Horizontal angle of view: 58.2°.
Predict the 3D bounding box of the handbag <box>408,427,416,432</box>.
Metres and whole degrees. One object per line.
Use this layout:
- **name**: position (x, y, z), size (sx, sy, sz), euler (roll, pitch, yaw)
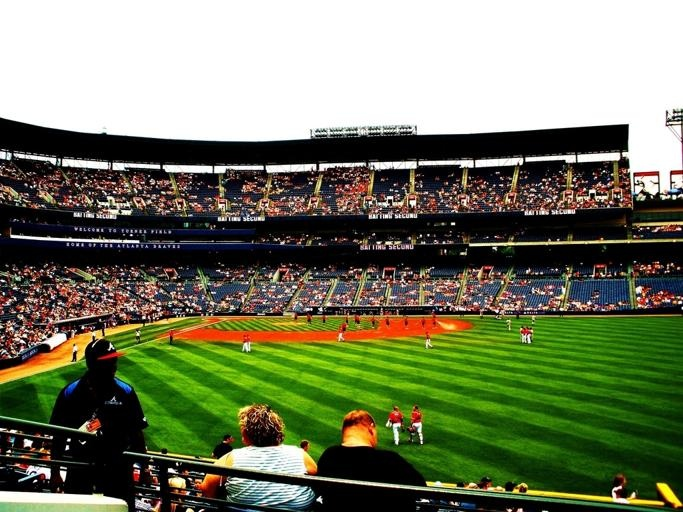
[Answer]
- **handbag**: position (2.844, 7.159, 25.176), size (0.299, 0.227, 0.270), euler (1, -7, -5)
